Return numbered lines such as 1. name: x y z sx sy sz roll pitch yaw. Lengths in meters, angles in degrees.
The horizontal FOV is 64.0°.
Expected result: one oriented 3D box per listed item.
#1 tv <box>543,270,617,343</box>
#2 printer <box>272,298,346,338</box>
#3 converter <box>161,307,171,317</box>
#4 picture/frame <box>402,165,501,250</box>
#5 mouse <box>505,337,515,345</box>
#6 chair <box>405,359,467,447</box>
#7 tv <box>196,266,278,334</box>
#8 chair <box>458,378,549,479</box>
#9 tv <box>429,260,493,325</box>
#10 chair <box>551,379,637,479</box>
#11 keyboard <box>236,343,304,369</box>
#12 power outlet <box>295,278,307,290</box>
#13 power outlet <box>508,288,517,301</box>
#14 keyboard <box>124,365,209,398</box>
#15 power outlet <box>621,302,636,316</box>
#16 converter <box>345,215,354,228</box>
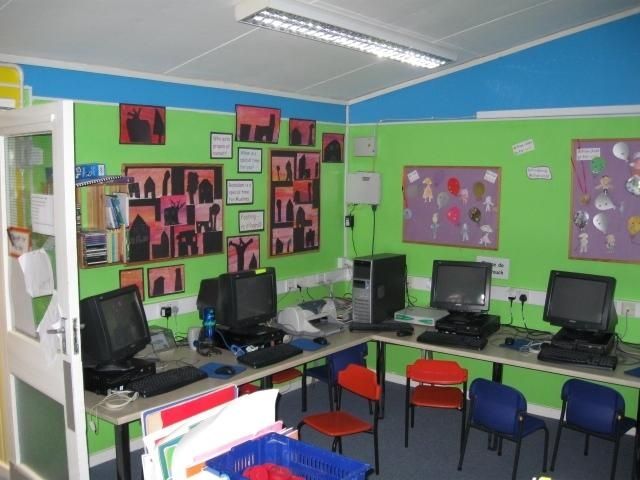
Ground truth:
1. tv: 2.289 0.568 4.527 0.531 0.577 0.597 -2 -11 40
2. printer: -0.115 0.750 4.905 0.467 0.157 0.349 2 6 42
3. converter: -1.379 0.640 4.588 0.091 0.092 0.024 0 -1 -23
4. picture/frame: 1.454 -0.362 5.492 0.885 0.715 0.034 6 13 32
5. mouse: 1.722 0.917 4.659 0.081 0.046 0.077 2 2 5
6. chair: 1.067 1.439 4.763 0.529 0.878 0.742 2 6 10
7. tv: -0.745 0.498 4.621 0.579 0.504 0.556 -1 1 36
8. chair: 1.514 1.528 4.270 0.572 0.876 0.549 -4 8 -39
9. tv: 1.354 0.403 5.207 0.804 0.792 0.461 3 -6 17
10. chair: 2.241 1.532 4.230 0.569 0.882 0.533 5 7 32
11. keyboard: -0.396 0.940 4.207 0.187 0.039 0.371 6 6 38
12. power outlet: -0.208 0.466 5.754 0.168 0.168 0.094 -2 5 -36
13. power outlet: 1.962 0.549 5.213 0.072 0.128 0.109 -3 -3 43
14. keyboard: -1.107 1.022 3.737 0.195 0.037 0.359 5 6 33
15. power outlet: 2.846 0.628 4.721 0.125 0.120 0.065 0 1 44
16. converter: 0.356 -0.225 6.168 0.119 0.155 0.066 3 6 17
